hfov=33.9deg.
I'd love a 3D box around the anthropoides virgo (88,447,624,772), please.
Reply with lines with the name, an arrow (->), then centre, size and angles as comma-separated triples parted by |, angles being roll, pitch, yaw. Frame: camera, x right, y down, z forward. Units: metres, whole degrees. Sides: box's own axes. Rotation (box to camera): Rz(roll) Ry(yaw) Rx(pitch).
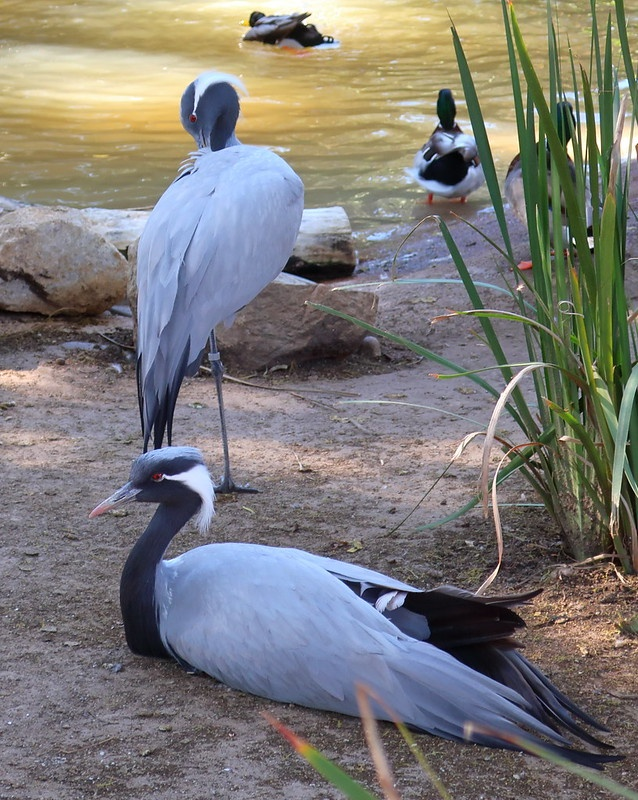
anthropoides virgo -> 0.111, 0.686, 3.252 | 1.774, 0.881, 0.513 | 4, 10, 18
